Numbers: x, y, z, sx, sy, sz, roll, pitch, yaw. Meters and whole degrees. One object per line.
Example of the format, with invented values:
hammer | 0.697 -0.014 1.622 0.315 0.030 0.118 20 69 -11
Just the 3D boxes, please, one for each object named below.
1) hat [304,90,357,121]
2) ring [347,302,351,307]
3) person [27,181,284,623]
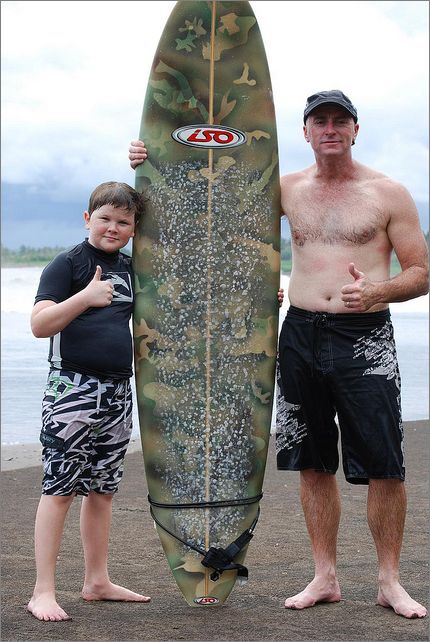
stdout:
hat | 0.400 -0.743 2.792 0.183 0.096 0.333 2 3 5
ring | 0.448 -0.053 2.736 0.013 0.014 0.005 6 1 -42
person | -0.424 0.247 2.737 0.453 1.426 0.354 0 5 -34
